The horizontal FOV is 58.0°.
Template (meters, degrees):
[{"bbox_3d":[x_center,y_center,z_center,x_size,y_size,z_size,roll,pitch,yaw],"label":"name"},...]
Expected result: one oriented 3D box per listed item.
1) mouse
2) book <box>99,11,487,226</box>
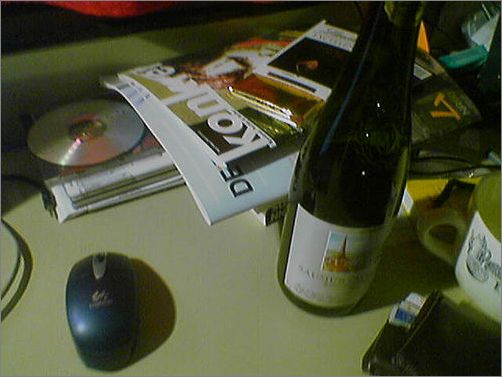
[{"bbox_3d":[-0.137,0.115,0.427,0.059,0.045,0.097,-11,50,-8],"label":"mouse"},{"bbox_3d":[0.054,-0.103,0.539,0.307,0.037,0.274,-22,53,-16],"label":"book"}]
